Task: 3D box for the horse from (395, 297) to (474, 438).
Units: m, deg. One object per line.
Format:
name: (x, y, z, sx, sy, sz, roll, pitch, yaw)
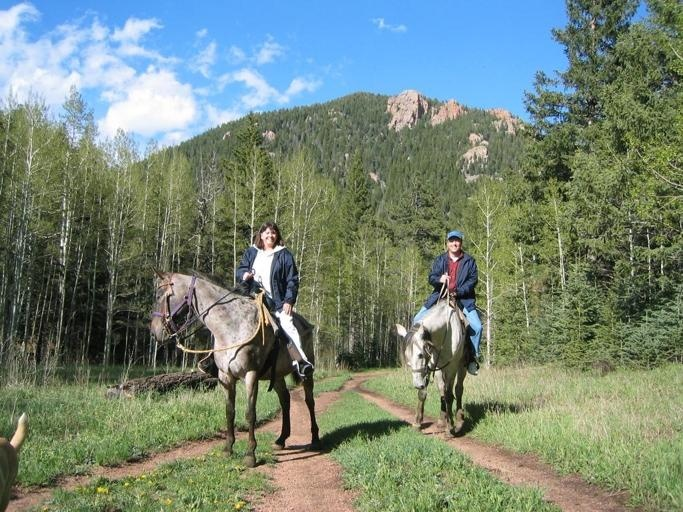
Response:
horse: (3.557, 3.822, 20.340, 1.426, 4.773, 4.945, 4, 1, 33)
